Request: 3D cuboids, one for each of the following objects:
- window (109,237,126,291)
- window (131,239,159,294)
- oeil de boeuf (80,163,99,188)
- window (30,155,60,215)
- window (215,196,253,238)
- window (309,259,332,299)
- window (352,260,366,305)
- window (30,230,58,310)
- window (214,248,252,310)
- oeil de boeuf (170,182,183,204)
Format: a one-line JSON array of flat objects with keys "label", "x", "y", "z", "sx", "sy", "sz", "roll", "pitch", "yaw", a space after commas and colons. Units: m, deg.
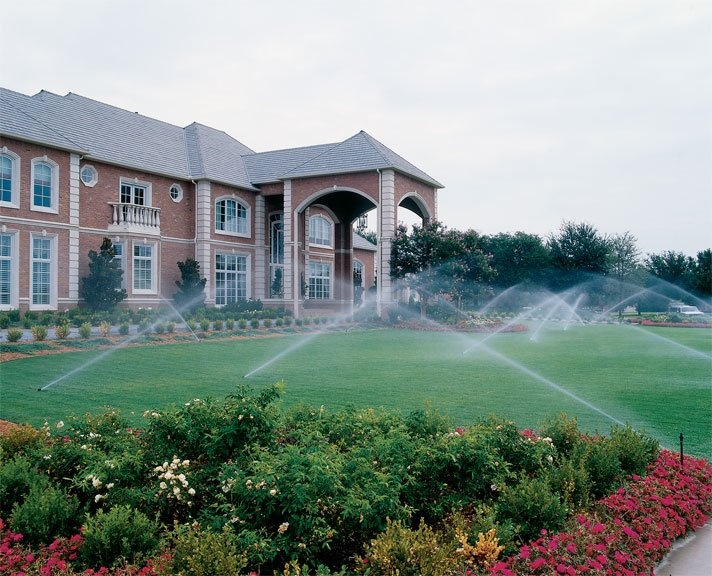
[{"label": "window", "x": -10.230, "y": -1.083, "z": 28.014, "sx": 0.460, "sy": 2.127, "sz": 1.522, "roll": 0, "pitch": -1, "yaw": -20}, {"label": "window", "x": -9.730, "y": -0.974, "z": 29.719, "sx": 0.325, "sy": 2.922, "sz": 2.460, "roll": -2, "pitch": -2, "yaw": 23}, {"label": "oeil de boeuf", "x": -11.384, "y": -4.788, "z": 27.655, "sx": 0.313, "sy": 0.970, "sz": 0.753, "roll": -1, "pitch": -1, "yaw": 19}, {"label": "window", "x": -12.185, "y": -4.031, "z": 25.417, "sx": 0.366, "sy": 2.056, "sz": 1.132, "roll": -1, "pitch": -1, "yaw": 26}, {"label": "window", "x": -6.695, "y": -3.876, "z": 35.163, "sx": 0.131, "sy": 1.609, "sz": 2.568, "roll": 2, "pitch": -1, "yaw": 21}, {"label": "window", "x": -2.255, "y": -0.546, "z": 40.531, "sx": 0.109, "sy": 2.709, "sz": 2.396, "roll": 0, "pitch": -2, "yaw": 32}, {"label": "window", "x": 0.203, "y": -0.439, "z": 48.687, "sx": 0.204, "sy": 3.930, "sz": 3.412, "roll": -2, "pitch": -2, "yaw": 20}, {"label": "window", "x": -12.196, "y": -0.620, "z": 25.352, "sx": 0.429, "sy": 2.824, "sz": 1.054, "roll": -1, "pitch": -1, "yaw": 21}, {"label": "window", "x": -6.664, "y": -0.493, "z": 34.745, "sx": 0.171, "sy": 3.289, "sz": 3.230, "roll": 1, "pitch": -1, "yaw": 26}, {"label": "oeil de boeuf", "x": -8.988, "y": -4.755, "z": 32.349, "sx": 0.146, "sy": 1.098, "sz": 1.036, "roll": -2, "pitch": 5, "yaw": 28}]
